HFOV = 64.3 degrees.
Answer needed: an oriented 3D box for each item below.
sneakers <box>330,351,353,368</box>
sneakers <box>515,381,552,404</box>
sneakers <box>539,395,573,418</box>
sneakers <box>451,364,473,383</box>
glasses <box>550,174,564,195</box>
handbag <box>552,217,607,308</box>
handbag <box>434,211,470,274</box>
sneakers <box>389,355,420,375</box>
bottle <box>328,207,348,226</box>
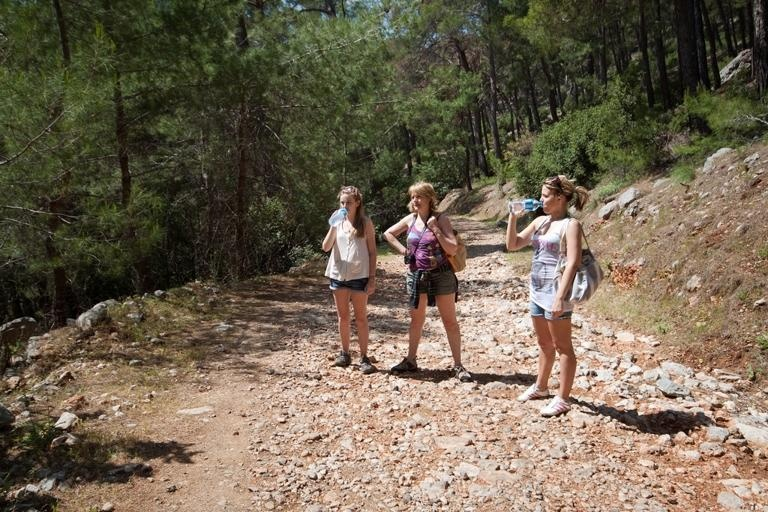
[{"bbox_3d":[-0.673,1.690,9.971,0.311,0.212,0.182,4,-1,-10],"label":"sneakers"},{"bbox_3d":[2.178,1.979,8.866,0.590,0.275,0.208,-3,-1,4],"label":"sneakers"},{"bbox_3d":[2.388,2.074,8.569,0.428,0.192,0.228,-15,4,-10],"label":"sneakers"},{"bbox_3d":[1.214,1.831,9.496,0.153,0.138,0.339,-21,-4,-21],"label":"sneakers"},{"bbox_3d":[2.373,-0.968,8.342,0.060,0.214,0.196,-7,9,4],"label":"glasses"},{"bbox_3d":[2.599,0.063,8.198,0.641,1.130,0.384,-6,8,0],"label":"handbag"},{"bbox_3d":[1.092,-0.058,9.327,0.353,0.660,0.485,-5,-7,20],"label":"handbag"},{"bbox_3d":[0.333,1.759,9.739,0.430,0.197,0.205,3,-7,-18],"label":"sneakers"},{"bbox_3d":[-0.709,-0.608,9.519,0.318,0.290,0.233,-5,8,11],"label":"bottle"}]
